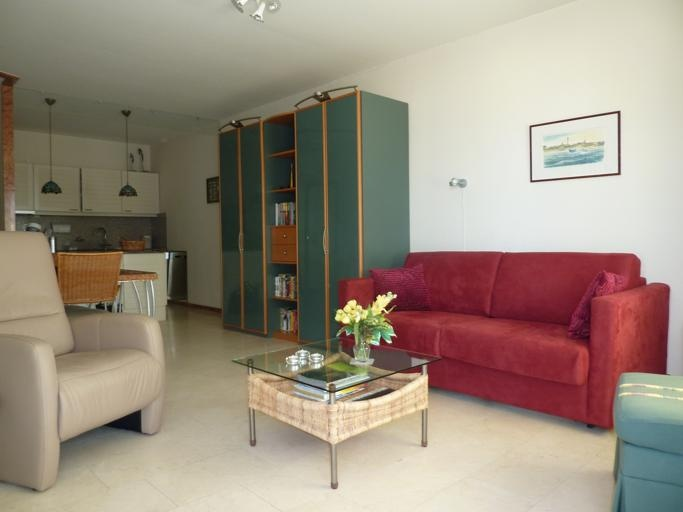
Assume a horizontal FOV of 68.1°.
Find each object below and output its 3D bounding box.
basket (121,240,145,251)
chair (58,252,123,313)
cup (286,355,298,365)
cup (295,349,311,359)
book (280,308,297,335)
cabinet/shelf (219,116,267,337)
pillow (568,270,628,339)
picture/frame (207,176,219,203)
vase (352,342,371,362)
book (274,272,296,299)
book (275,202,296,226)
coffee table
[{"bbox_3d":[-3.549,-0.164,8.526,0.298,0.108,0.259,1,0,9],"label":"basket"},{"bbox_3d":[-2.374,0.224,4.731,0.487,0.654,0.575,-2,8,-42],"label":"chair"},{"bbox_3d":[-0.306,0.649,3.119,0.049,0.030,0.049,0,2,0],"label":"cup"},{"bbox_3d":[-0.245,0.623,3.200,0.058,0.034,0.071,1,-1,-19],"label":"cup"},{"bbox_3d":[-0.616,0.770,5.866,0.153,0.273,0.285,-2,3,-42],"label":"book"},{"bbox_3d":[-1.215,-0.327,6.194,0.430,2.556,1.157,-10,15,-37],"label":"cabinet/shelf"},{"bbox_3d":[1.754,0.341,3.422,0.133,0.450,0.411,23,-4,2],"label":"pillow"},{"bbox_3d":[-1.967,-1.022,7.711,0.036,0.480,0.441,-4,6,-39],"label":"picture/frame"},{"bbox_3d":[0.123,0.597,3.164,0.105,0.124,0.105,0,2,-23],"label":"vase"},{"bbox_3d":[-0.661,0.356,5.902,0.250,0.332,0.343,4,3,39],"label":"book"},{"bbox_3d":[-0.646,-0.483,5.824,0.153,0.276,0.283,-2,4,-41],"label":"book"},{"bbox_3d":[-0.100,0.795,3.099,0.864,0.517,0.850,-2,0,-44],"label":"coffee table"}]
